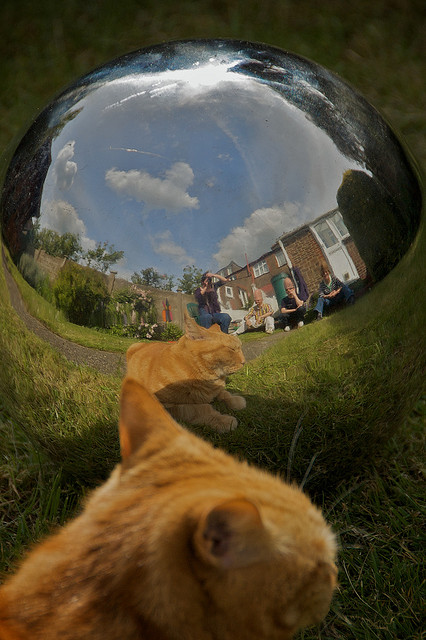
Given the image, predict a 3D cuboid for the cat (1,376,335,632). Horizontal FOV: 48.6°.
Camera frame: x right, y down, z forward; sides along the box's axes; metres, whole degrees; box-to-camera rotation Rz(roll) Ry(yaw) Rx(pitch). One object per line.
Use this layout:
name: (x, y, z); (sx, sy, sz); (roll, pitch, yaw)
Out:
cat: (-0.069, 0.517, 1.267); (0.753, 0.556, 0.503); (-23, 7, -12)

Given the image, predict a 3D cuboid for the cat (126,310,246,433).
cat: (-0.087, 0.115, 1.323); (0.388, 0.298, 0.228); (11, 16, 30)
